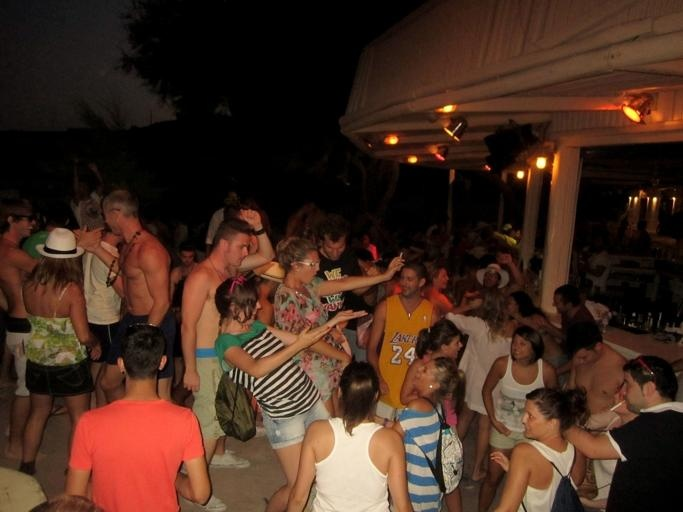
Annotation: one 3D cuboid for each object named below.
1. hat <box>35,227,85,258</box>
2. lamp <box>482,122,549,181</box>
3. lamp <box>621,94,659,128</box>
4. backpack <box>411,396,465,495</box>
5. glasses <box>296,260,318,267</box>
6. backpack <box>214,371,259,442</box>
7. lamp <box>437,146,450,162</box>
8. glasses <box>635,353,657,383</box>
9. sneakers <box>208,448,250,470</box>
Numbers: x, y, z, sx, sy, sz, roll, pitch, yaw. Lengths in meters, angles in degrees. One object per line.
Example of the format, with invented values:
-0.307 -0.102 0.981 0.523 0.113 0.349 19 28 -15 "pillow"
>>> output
-2.824 -0.126 5.083 0.399 0.295 0.236 3 4 -28 "hat"
2.856 -1.714 8.513 0.276 0.680 0.914 20 -19 -35 "lamp"
3.744 -1.851 6.411 0.308 0.301 0.440 7 4 37 "lamp"
0.824 1.643 4.269 0.483 0.730 0.239 2 5 -40 "backpack"
-0.320 0.067 4.740 0.179 0.057 0.055 4 4 -26 "glasses"
-0.956 1.348 4.563 0.373 0.657 0.255 4 4 -13 "backpack"
2.126 -2.208 10.841 0.245 0.289 0.511 5 3 3 "lamp"
2.395 0.884 3.997 0.057 0.155 0.127 -22 -24 19 "glasses"
-1.288 2.295 5.781 0.440 0.185 0.201 2 -7 -6 "sneakers"
